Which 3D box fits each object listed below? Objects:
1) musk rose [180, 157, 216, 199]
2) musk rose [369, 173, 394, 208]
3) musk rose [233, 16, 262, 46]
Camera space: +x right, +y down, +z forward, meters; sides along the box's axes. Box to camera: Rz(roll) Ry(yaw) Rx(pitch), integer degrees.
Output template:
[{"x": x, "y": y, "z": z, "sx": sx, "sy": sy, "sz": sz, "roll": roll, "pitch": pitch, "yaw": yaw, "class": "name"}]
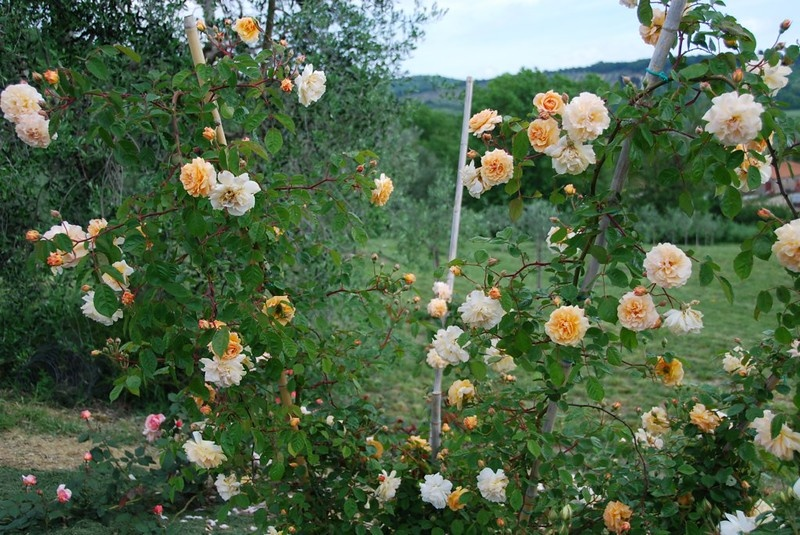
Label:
[{"x": -1.008, "y": -0.447, "z": 4.396, "sx": 0.170, "sy": 0.189, "sz": 0.111, "roll": -2, "pitch": 8, "yaw": 3, "class": "musk rose"}, {"x": -0.104, "y": -0.434, "z": 5.014, "sx": 0.104, "sy": 0.184, "sz": 0.177, "roll": 17, "pitch": -3, "yaw": 5, "class": "musk rose"}, {"x": -0.827, "y": -1.291, "z": 4.777, "sx": 0.148, "sy": 0.131, "sz": 0.211, "roll": -4, "pitch": 11, "yaw": -11, "class": "musk rose"}]
